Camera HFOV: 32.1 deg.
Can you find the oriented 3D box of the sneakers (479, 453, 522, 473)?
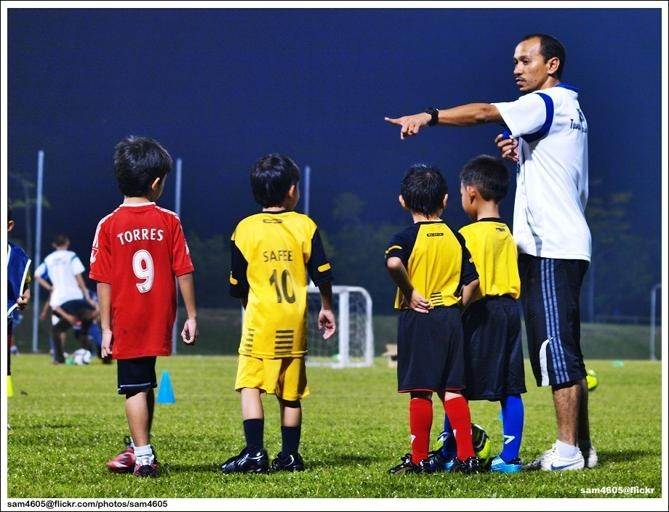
[{"bbox_3d":[2.118,2.568,14.720,0.549,0.237,0.207,4,-5,13],"label":"sneakers"}]

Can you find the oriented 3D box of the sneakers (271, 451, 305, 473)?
[{"bbox_3d":[-0.575,2.549,14.536,0.463,0.211,0.190,-3,-5,41],"label":"sneakers"}]

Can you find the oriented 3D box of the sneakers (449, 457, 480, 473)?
[{"bbox_3d":[1.648,2.594,14.575,0.327,0.152,0.186,1,-5,18],"label":"sneakers"}]

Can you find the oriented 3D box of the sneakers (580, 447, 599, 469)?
[{"bbox_3d":[3.221,2.535,14.726,0.214,0.300,0.662,0,-2,9],"label":"sneakers"}]

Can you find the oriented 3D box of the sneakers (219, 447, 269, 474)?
[{"bbox_3d":[-1.106,2.531,14.549,0.512,0.235,0.291,1,-13,5],"label":"sneakers"}]

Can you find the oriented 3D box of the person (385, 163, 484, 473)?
[{"bbox_3d":[1.227,0.752,14.610,1.096,3.852,0.372,-1,-2,3],"label":"person"}]

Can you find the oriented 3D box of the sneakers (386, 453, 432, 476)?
[{"bbox_3d":[0.950,2.578,14.607,0.607,0.275,0.222,2,-11,1],"label":"sneakers"}]
